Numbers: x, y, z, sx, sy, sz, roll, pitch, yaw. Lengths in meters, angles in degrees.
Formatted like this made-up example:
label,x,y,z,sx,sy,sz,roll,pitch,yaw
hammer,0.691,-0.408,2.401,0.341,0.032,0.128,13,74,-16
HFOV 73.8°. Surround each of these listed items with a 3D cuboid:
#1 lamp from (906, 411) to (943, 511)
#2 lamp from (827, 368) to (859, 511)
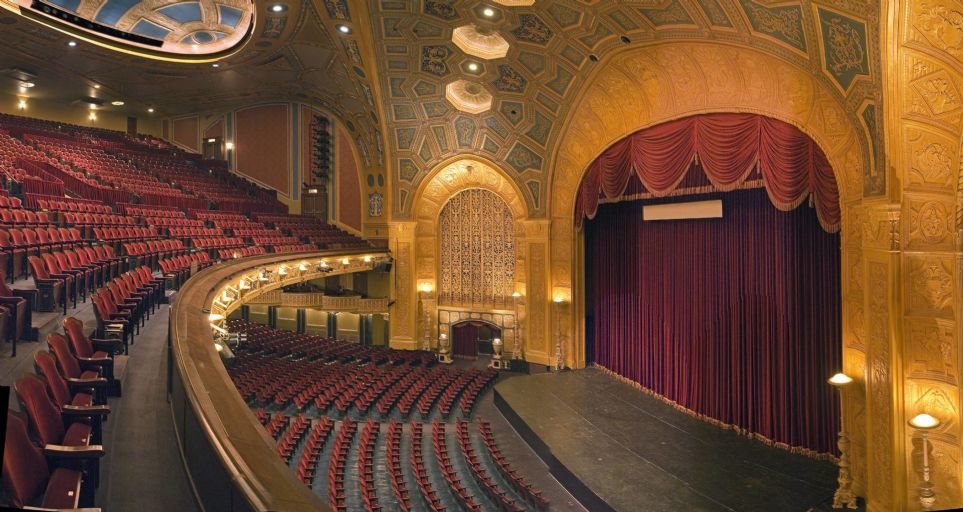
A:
label,x,y,z,sx,sy,sz,roll,pitch,yaw
lamp,8.474,3.917,12.253,0.465,1.837,0.619,-3,-7,34
lamp,7.693,3.890,13.734,0.492,2.805,1.237,-2,-7,27
